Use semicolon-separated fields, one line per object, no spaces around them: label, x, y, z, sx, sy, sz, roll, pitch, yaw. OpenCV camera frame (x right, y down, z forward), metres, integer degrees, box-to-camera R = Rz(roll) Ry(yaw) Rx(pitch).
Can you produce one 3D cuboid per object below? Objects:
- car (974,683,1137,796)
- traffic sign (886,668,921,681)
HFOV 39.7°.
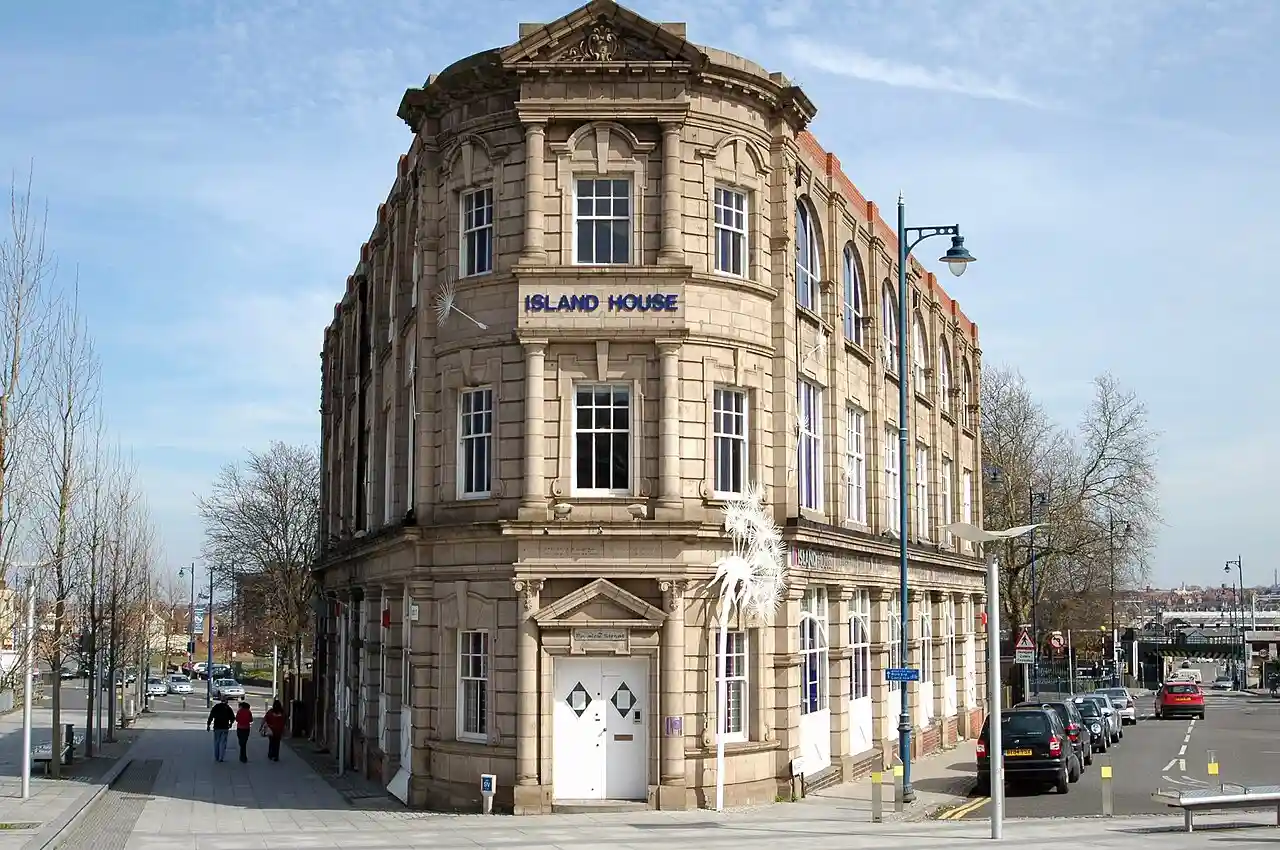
car;13.547;10.734;59.387;3.157;3.046;7.309;-3;-7;24
traffic sign;8.278;7.834;55.610;0.821;0.379;0.144;-4;-28;17
